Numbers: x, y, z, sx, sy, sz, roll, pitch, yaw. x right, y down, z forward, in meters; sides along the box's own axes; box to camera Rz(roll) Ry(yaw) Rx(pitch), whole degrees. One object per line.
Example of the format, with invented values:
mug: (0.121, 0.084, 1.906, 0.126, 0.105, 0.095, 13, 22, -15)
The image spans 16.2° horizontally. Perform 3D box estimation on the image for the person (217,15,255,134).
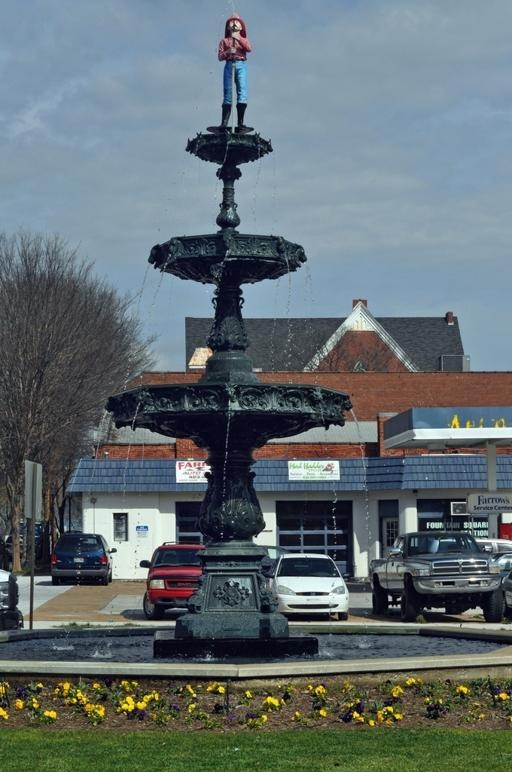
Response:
person: (-0.206, -3.241, 18.547, 0.287, 0.942, 0.573, -4, -2, -6)

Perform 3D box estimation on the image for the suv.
suv: (-1.362, 3.208, 30.354, 1.182, 1.335, 2.248, 0, -11, -2)

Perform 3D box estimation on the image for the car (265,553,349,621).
car: (0.856, 3.186, 28.697, 0.771, 0.837, 1.757, 0, -15, -3)

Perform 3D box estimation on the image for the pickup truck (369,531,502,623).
pickup truck: (2.805, 2.876, 27.990, 0.974, 0.962, 2.070, 2, -11, -10)
